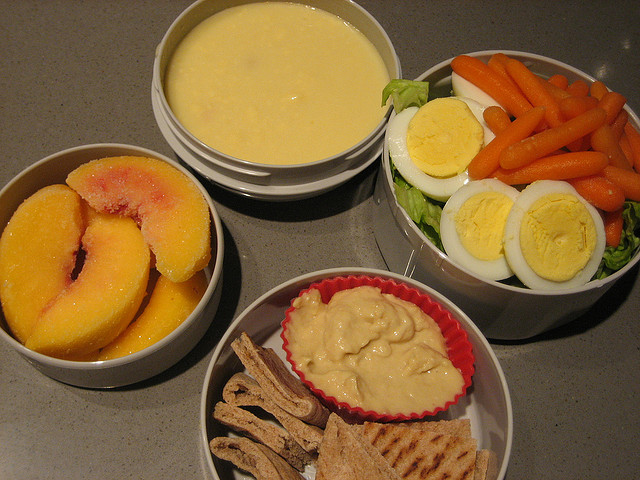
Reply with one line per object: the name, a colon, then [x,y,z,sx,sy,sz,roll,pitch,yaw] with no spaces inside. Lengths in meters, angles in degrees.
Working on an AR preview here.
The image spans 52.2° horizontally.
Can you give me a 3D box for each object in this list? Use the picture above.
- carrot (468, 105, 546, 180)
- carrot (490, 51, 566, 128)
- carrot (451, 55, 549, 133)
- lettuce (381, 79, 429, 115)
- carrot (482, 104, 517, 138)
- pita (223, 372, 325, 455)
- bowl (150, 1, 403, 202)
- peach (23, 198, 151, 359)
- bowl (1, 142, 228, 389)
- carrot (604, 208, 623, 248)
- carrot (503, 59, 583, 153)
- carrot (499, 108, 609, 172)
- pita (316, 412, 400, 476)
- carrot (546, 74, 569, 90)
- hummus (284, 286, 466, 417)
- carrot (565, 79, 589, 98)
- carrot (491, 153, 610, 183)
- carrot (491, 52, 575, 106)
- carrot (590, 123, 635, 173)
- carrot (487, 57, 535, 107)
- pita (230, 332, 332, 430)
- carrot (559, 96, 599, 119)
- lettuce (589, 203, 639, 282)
carrot: [0.563,-0.286,1.958,0.248,0.064,0.063,-46,71,6]
carrot: [0.641,-0.462,2.037,0.067,0.076,0.301,-31,72,-19]
carrot: [0.561,-0.488,2.083,0.370,0.088,0.097,27,70,23]
lettuce: [0.269,-0.462,2.068,0.114,0.036,0.118,-30,72,2]
carrot: [0.566,-0.388,2.081,0.081,0.185,0.073,0,90,21]
pita: [-0.132,0.486,1.846,0.231,0.240,0.060,25,71,45]
bowl: [-0.139,-0.343,2.036,0.708,0.241,0.777,1,69,-4]
peach: [-0.631,0.140,1.891,0.321,0.151,0.372,19,75,21]
bowl: [-0.630,0.072,1.985,0.675,0.240,0.710,0,71,1]
carrot: [0.892,-0.039,1.978,0.058,0.035,0.113,2,91,15]
carrot: [0.676,-0.399,1.992,0.065,0.084,0.352,-30,65,-1]
carrot: [0.684,-0.296,1.921,0.332,0.074,0.061,-22,71,-7]
pita: [0.106,0.572,1.770,0.219,0.087,0.168,10,71,4]
carrot: [0.764,-0.513,2.120,0.063,0.040,0.050,-11,48,-31]
hummus: [0.154,0.354,1.915,0.512,0.210,0.605,6,35,-1]
carrot: [0.810,-0.473,2.050,0.046,0.032,0.098,-12,37,6]
carrot: [0.691,-0.218,1.947,0.348,0.073,0.079,-5,98,1]
carrot: [0.667,-0.506,2.072,0.271,0.042,0.052,42,38,13]
carrot: [0.865,-0.267,1.967,0.077,0.048,0.150,-42,94,-9]
carrot: [0.580,-0.528,2.082,0.051,0.054,0.240,-13,61,-45]
pita: [-0.136,0.407,1.898,0.317,0.310,0.077,37,92,28]
carrot: [0.775,-0.403,1.966,0.109,0.055,0.049,-12,43,-4]
lettuce: [0.905,0.018,1.976,0.054,0.131,0.213,2,48,51]
